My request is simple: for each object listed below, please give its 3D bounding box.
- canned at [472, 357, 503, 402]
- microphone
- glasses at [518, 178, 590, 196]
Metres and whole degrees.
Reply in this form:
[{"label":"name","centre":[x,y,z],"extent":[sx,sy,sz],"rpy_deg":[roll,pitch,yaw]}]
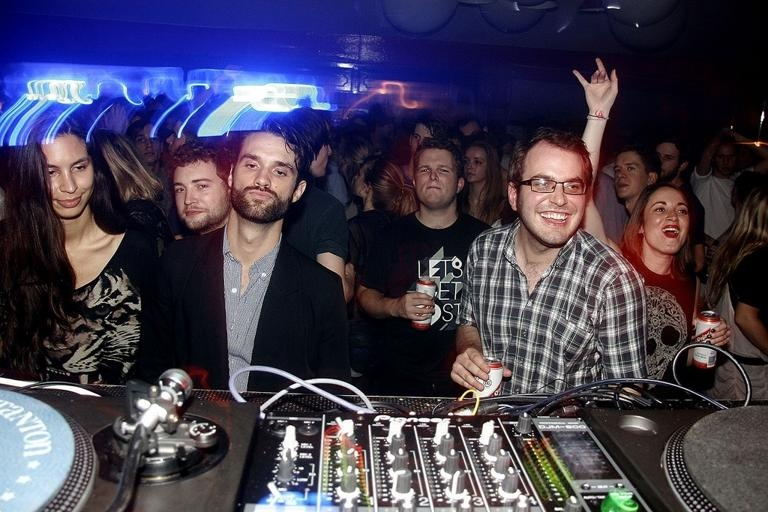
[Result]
[{"label":"canned","centre":[0.473,0.537,2.323],"extent":[0.067,0.148,0.130],"rpy_deg":[10,19,34]},{"label":"microphone","centre":[-0.676,0.424,1.604],"extent":[0.140,0.110,0.227],"rpy_deg":[10,23,1]},{"label":"glasses","centre":[0.929,-0.386,2.877],"extent":[0.337,0.100,0.077],"rpy_deg":[2,16,13]}]
